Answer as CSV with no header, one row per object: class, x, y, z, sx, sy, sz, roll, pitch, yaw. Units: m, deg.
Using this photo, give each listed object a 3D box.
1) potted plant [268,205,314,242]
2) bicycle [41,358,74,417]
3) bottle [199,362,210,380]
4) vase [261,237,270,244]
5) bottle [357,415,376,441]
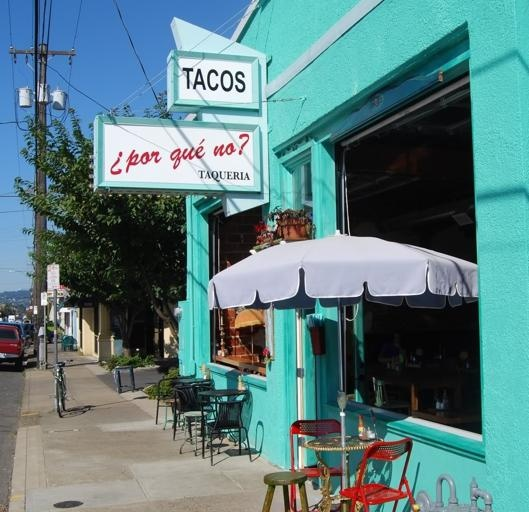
potted plant,0.325,-0.384,8.435,0.388,0.406,0.384,-6,-8,22
bicycle,-4.065,2.424,14.159,0.620,0.947,1.427,-3,21,-13
bottle,-1.052,2.009,12.446,0.197,0.294,0.216,1,-8,0
vase,0.022,-0.181,8.627,0.057,0.067,0.037,-6,-11,21
bottle,0.924,1.573,6.564,0.203,0.234,0.192,-2,-7,26
